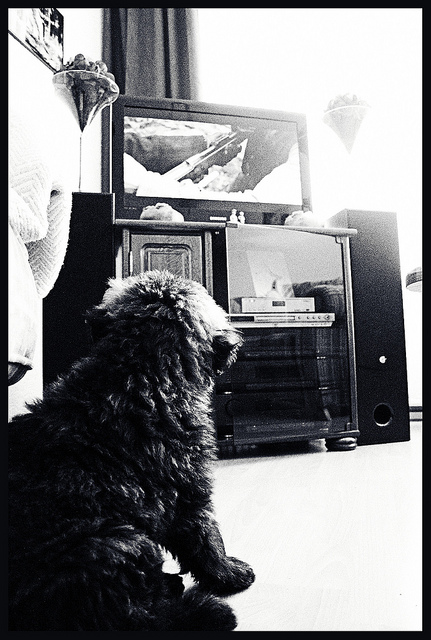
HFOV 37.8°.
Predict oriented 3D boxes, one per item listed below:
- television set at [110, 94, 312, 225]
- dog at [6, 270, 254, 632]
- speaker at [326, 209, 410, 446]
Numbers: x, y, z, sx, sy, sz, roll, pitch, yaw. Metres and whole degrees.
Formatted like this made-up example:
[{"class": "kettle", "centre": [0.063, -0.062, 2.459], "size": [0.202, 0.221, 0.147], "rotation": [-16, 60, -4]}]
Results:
[{"class": "television set", "centre": [-0.003, -0.560, 2.266], "size": [0.749, 0.435, 0.083], "rotation": [1, 2, -18]}, {"class": "dog", "centre": [-0.180, 0.199, 0.988], "size": [0.338, 0.472, 0.443], "rotation": [4, 17, 32]}, {"class": "speaker", "centre": [0.558, 0.013, 2.171], "size": [0.210, 0.789, 0.185], "rotation": [1, 3, -14]}]
